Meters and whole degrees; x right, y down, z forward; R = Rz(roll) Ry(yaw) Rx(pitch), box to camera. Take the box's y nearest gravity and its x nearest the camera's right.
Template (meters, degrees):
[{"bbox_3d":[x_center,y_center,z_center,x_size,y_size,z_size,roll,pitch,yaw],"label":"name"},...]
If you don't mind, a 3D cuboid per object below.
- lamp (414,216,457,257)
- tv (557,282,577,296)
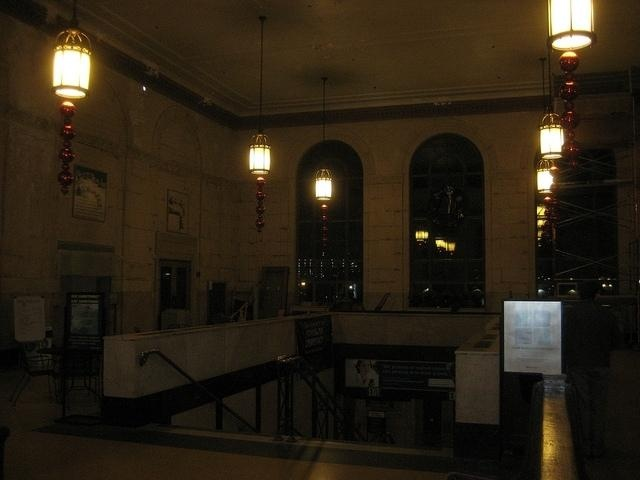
[{"bbox_3d":[3.694,-0.007,22.260,1.742,1.900,0.997,1,0,14],"label":"lamp"},{"bbox_3d":[7.417,1.475,20.527,0.570,0.406,0.391,1,9,16],"label":"tv"}]
